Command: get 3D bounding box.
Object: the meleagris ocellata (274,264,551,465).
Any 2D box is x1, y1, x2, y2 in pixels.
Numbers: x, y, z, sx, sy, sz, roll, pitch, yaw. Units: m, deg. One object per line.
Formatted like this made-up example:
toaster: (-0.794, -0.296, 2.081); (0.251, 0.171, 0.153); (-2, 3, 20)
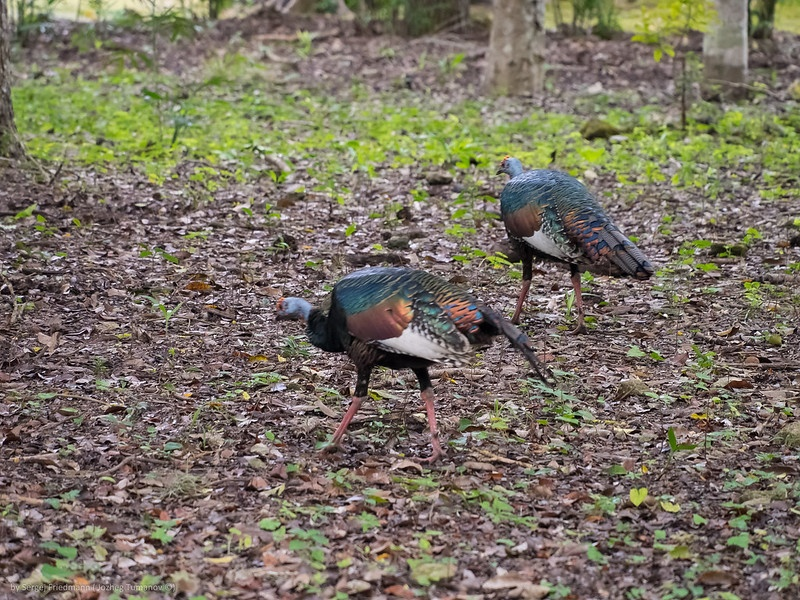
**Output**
meleagris ocellata: (0.035, 0.455, 6.519); (2.378, 1.241, 0.678); (-2, -6, 31)
